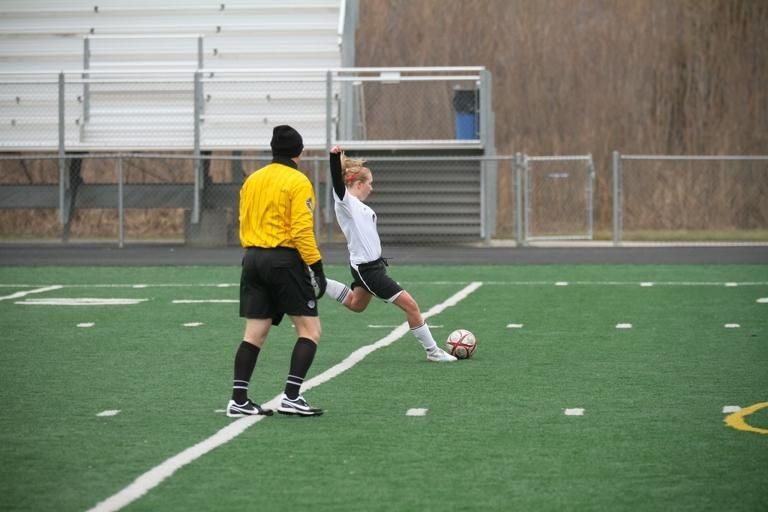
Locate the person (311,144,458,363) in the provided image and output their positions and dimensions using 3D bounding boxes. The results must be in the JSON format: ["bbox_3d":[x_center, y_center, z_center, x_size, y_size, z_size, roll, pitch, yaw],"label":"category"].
[{"bbox_3d":[-0.060,0.001,14.018,1.243,2.556,1.009,-3,12,-10],"label":"person"}]

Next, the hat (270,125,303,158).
[{"bbox_3d":[-1.066,-1.283,12.304,0.331,0.348,0.473,12,20,27],"label":"hat"}]

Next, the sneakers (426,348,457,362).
[{"bbox_3d":[0.701,1.245,14.059,0.352,0.152,0.158,0,4,-1],"label":"sneakers"}]

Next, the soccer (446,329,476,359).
[{"bbox_3d":[0.968,1.111,14.121,0.340,0.340,0.342,11,44,-2],"label":"soccer"}]

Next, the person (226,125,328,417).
[{"bbox_3d":[-1.166,0.380,12.212,1.037,2.678,0.602,-2,12,-4],"label":"person"}]

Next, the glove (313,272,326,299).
[{"bbox_3d":[-0.713,0.307,12.167,0.111,0.352,0.140,-4,-12,7],"label":"glove"}]

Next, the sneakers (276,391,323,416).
[{"bbox_3d":[-0.944,1.643,12.330,0.552,0.262,0.203,1,-3,-4],"label":"sneakers"}]

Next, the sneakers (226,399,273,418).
[{"bbox_3d":[-1.482,1.666,12.293,0.554,0.205,0.193,2,-3,-7],"label":"sneakers"}]
